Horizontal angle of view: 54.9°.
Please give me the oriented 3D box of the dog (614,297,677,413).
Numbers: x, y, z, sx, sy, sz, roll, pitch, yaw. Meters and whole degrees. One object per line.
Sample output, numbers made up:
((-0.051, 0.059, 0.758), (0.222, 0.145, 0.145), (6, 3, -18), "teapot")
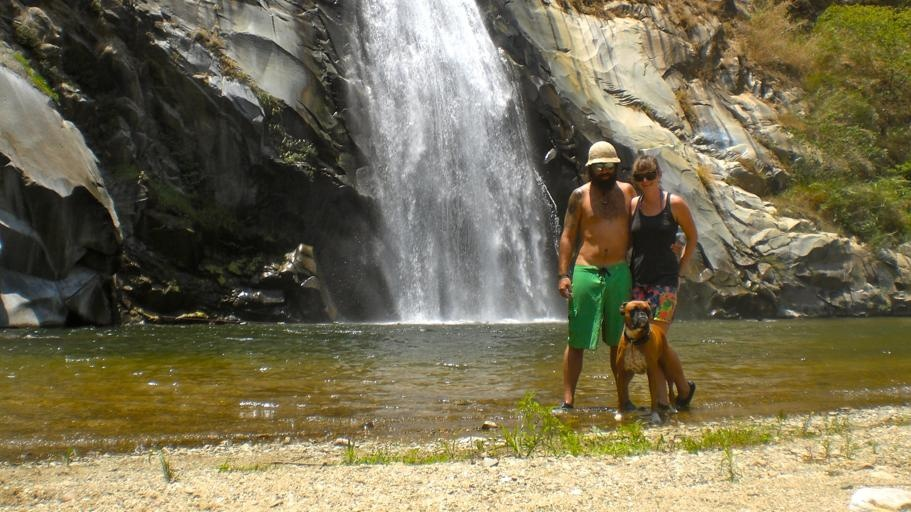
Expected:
((4.680, 2.519, 22.010), (1.392, 2.852, 0.625), (-4, 8, 0), "dog")

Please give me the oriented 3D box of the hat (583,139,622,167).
((3.776, -2.656, 22.706), (0.773, 0.574, 1.307), (-3, 8, 8), "hat")

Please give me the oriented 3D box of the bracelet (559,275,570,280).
((2.772, 0.532, 22.318), (0.141, 0.100, 0.144), (1, 1, -5), "bracelet")
